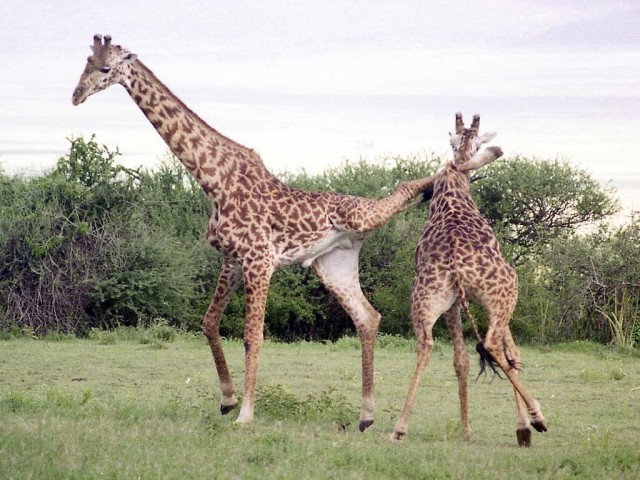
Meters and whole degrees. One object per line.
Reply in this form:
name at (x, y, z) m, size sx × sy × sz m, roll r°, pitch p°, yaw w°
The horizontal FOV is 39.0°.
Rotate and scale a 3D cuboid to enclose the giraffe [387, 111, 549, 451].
giraffe at (2.183, 0.446, 13.391) m, size 1.877 × 5.011 × 1.665 m, roll 1°, pitch -5°, yaw 14°
